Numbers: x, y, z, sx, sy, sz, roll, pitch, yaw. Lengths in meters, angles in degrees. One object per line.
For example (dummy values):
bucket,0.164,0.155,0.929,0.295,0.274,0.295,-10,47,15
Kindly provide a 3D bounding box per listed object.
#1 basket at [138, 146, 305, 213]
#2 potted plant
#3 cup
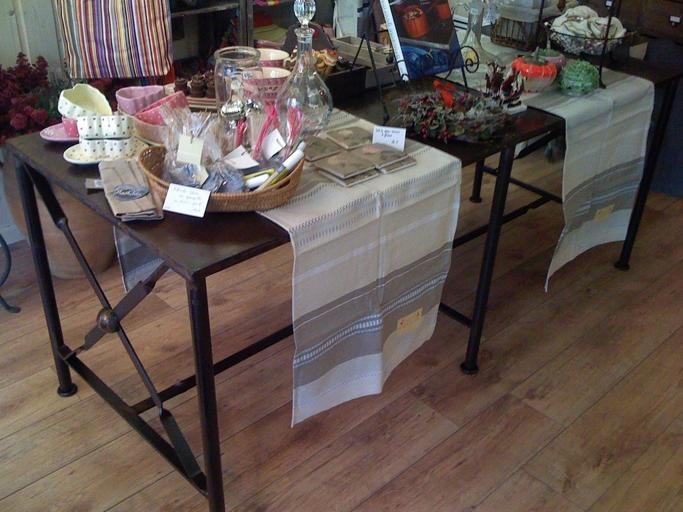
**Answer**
basket,-0.358,-0.193,1.520,0.326,0.071,0.250,13,37,17
potted plant,0.899,-0.781,2.274,0.331,0.169,0.237,15,43,28
cup,-0.278,-0.598,1.899,0.303,0.325,0.311,1,37,-1
